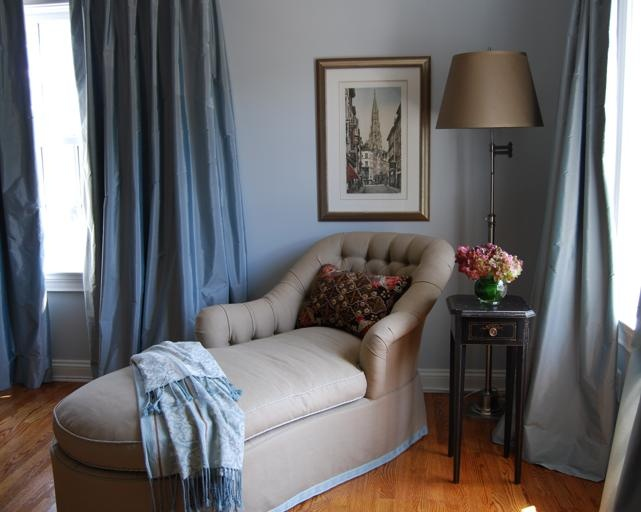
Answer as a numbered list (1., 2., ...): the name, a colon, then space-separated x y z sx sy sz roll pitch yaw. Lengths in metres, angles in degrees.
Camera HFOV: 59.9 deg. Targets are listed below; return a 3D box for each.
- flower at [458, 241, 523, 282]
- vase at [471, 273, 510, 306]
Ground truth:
1. flower: 0.802 0.061 2.623 0.204 0.176 0.207 4 -4 -35
2. vase: 0.816 0.169 2.665 0.119 0.168 0.124 7 -10 -33
